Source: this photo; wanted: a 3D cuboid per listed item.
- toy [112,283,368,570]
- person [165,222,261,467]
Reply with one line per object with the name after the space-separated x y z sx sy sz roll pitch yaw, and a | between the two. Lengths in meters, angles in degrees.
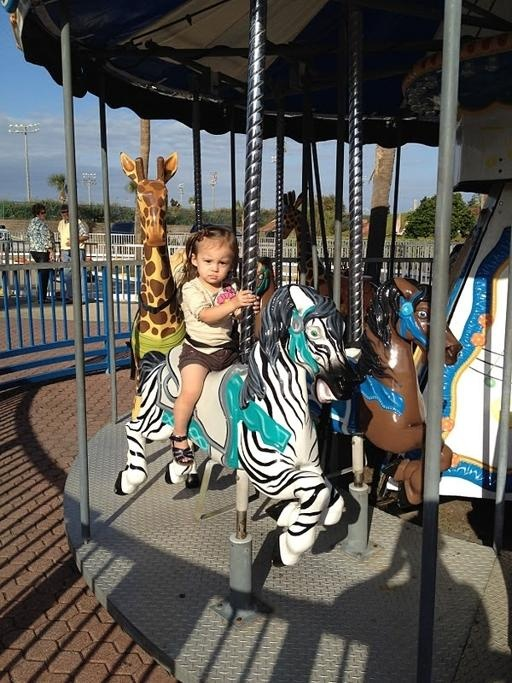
-0.060 0.248 1.841 0.274 0.863 0.958 -2 5 -42 | toy
-0.150 0.018 1.948 0.372 0.836 0.408 9 14 31 | person
